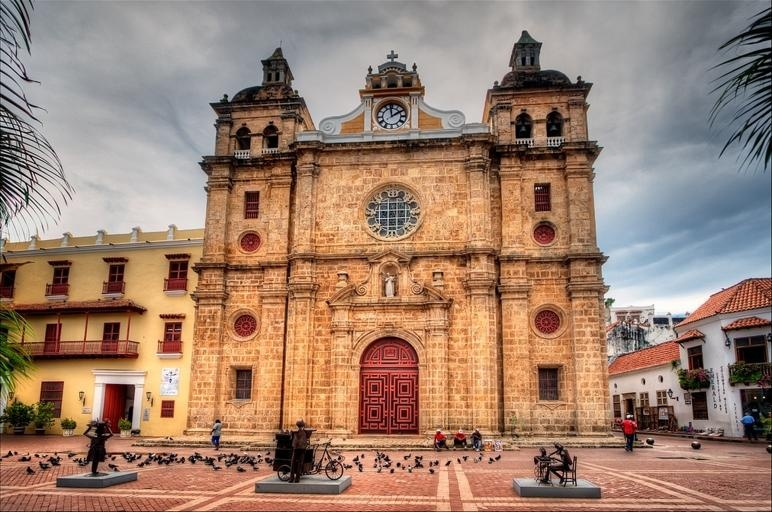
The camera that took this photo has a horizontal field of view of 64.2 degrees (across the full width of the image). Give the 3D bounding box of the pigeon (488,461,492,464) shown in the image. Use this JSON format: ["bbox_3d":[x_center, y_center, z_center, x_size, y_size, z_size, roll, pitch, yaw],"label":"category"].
[{"bbox_3d":[4.694,9.237,27.672,0.163,0.145,0.358,0,-8,2],"label":"pigeon"}]

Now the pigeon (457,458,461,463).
[{"bbox_3d":[3.317,9.335,28.112,0.157,0.140,0.423,-3,-25,2],"label":"pigeon"}]

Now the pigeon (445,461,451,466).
[{"bbox_3d":[2.742,9.152,27.165,0.258,0.181,0.143,0,-13,6],"label":"pigeon"}]

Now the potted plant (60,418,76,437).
[{"bbox_3d":[-20.399,10.972,39.527,0.911,1.004,0.755,1,-8,-6],"label":"potted plant"}]

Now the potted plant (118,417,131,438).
[{"bbox_3d":[-16.504,10.967,39.345,0.953,0.999,0.971,4,-9,-24],"label":"potted plant"}]
